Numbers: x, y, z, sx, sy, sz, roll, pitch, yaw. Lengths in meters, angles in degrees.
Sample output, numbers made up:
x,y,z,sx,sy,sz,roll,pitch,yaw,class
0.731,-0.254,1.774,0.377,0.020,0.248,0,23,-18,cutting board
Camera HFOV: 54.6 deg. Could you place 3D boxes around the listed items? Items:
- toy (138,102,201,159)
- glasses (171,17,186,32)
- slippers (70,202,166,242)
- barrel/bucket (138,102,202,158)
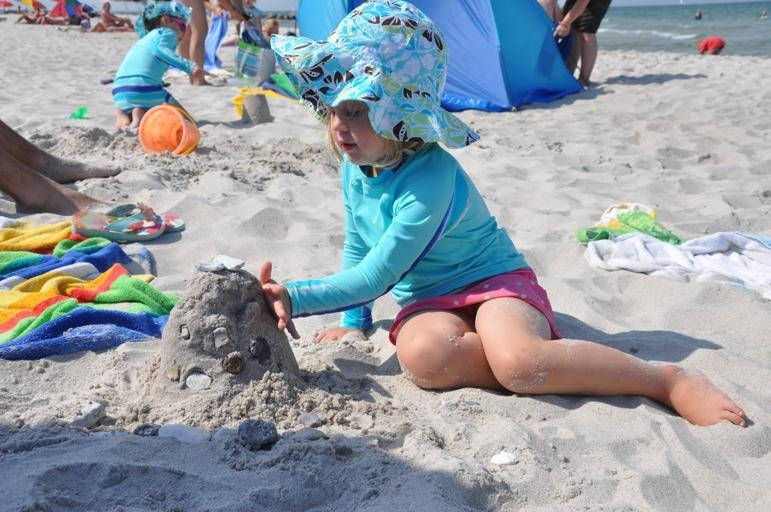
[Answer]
x,y,z,sx,sy,sz,roll,pitch,yaw,class
-1.849,-1.079,6.564,0.518,0.487,0.378,17,21,16,toy
-2.241,-2.481,8.014,0.107,0.141,0.139,-35,43,-25,glasses
-1.778,-0.199,5.020,0.443,0.126,0.312,0,24,-15,slippers
-1.850,-1.071,6.500,0.510,0.487,0.374,-1,11,23,barrel/bucket
